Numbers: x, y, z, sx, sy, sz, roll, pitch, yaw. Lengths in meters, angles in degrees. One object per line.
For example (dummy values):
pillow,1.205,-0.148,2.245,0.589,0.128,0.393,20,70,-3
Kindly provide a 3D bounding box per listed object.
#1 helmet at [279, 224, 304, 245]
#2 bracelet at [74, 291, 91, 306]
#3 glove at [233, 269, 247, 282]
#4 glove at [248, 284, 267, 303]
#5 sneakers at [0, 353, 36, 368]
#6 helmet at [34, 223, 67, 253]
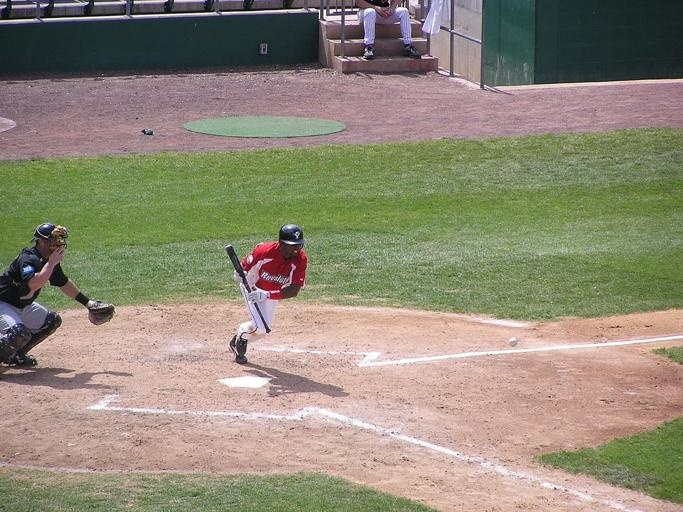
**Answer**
helmet,-0.770,-0.303,18.326,0.314,0.153,0.363,-6,9,-34
bracelet,-3.936,0.678,19.018,0.298,0.079,0.191,27,22,-9
glove,-1.515,0.299,18.584,0.175,0.169,0.218,-23,34,-40
glove,-1.225,0.566,18.389,0.232,0.226,0.110,-25,17,-4
sneakers,-4.744,1.567,18.683,0.581,0.180,0.179,6,8,-5
helmet,-4.227,-0.293,18.590,0.561,0.398,0.450,-13,28,-14
